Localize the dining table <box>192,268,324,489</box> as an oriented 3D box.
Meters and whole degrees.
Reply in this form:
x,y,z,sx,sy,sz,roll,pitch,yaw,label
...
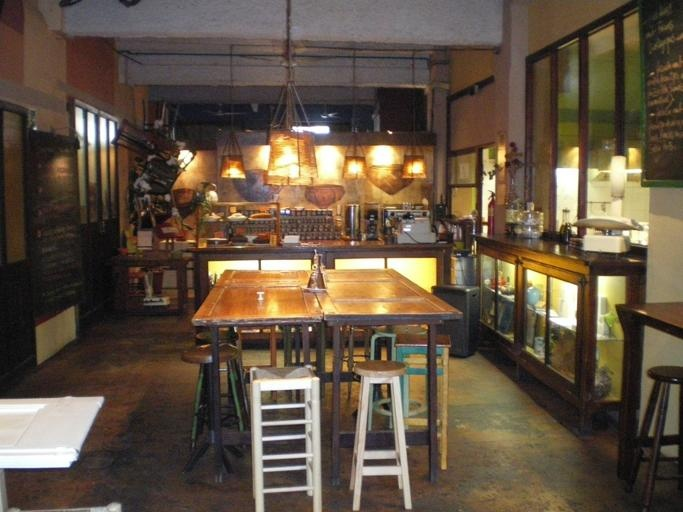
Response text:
x,y,z,sx,sy,sz,roll,pitch,yaw,label
-0.729,0.922,5.765,0.925,1.370,2.786,-2,8,-5,dining table

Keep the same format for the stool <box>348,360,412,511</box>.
x,y,z,sx,sy,sz,roll,pitch,yaw,label
0.283,1.254,4.496,0.446,0.968,0.736,-1,5,3,stool

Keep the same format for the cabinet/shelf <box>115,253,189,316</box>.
x,y,z,sx,sy,sz,roll,pitch,yaw,label
-2.986,0.395,9.516,1.092,0.819,1.097,-1,10,-11,cabinet/shelf

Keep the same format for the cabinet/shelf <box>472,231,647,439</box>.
x,y,z,sx,sy,sz,roll,pitch,yaw,label
2.017,0.752,5.500,0.497,1.005,1.730,0,5,-3,cabinet/shelf

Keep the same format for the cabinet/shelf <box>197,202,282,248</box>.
x,y,z,sx,sy,sz,roll,pitch,yaw,label
-1.521,-0.459,8.995,1.088,0.689,1.094,0,4,-2,cabinet/shelf
